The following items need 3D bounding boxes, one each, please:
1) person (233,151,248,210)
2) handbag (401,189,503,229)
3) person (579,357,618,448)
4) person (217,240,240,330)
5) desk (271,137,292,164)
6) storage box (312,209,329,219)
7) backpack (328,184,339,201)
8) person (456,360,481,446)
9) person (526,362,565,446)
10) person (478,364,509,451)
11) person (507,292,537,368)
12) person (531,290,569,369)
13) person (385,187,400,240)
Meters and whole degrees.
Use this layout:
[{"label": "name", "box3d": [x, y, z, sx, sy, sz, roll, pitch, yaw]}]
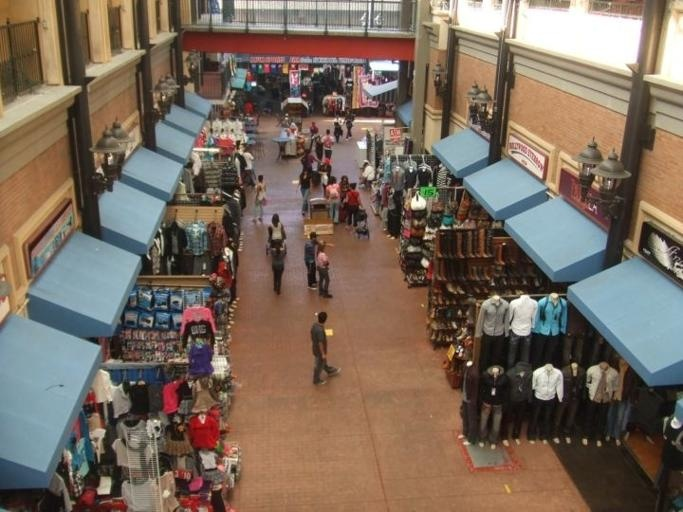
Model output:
[{"label": "person", "box3d": [-3.751, -3.092, 21.674, 0.671, 2.431, 0.627, 3, 14, -2]}, {"label": "handbag", "box3d": [2.936, -1.250, 14.604, 1.118, 0.603, 1.725, -2, 15, -4]}, {"label": "person", "box3d": [4.457, 2.515, 9.532, 0.519, 1.589, 0.366, -1, 21, -3]}, {"label": "person", "box3d": [-2.559, 0.648, 12.439, 0.536, 1.932, 0.748, 9, 52, 1]}, {"label": "desk", "box3d": [-2.989, -5.411, 27.737, 1.242, 1.397, 1.288, 2, 17, 5]}, {"label": "storage box", "box3d": [-0.711, -1.448, 18.778, 0.513, 0.328, 0.373, -2, 2, -6]}, {"label": "backpack", "box3d": [-0.288, -2.196, 18.796, 0.365, 0.559, 0.284, -4, 22, -8]}, {"label": "person", "box3d": [2.259, 2.532, 9.639, 0.316, 1.481, 0.424, -1, 22, -2]}, {"label": "person", "box3d": [3.554, 2.501, 9.702, 0.555, 1.563, 0.432, 4, 22, 10]}, {"label": "person", "box3d": [2.609, 2.599, 9.581, 0.455, 1.444, 0.400, 3, 22, 9]}, {"label": "person", "box3d": [3.263, 1.508, 10.170, 0.467, 1.710, 0.331, 5, 24, 17]}, {"label": "person", "box3d": [3.736, 1.350, 9.965, 0.561, 1.499, 0.256, 1, 21, 2]}, {"label": "person", "box3d": [1.682, -1.447, 17.984, 0.347, 1.653, 0.717, -8, 23, -20]}]
